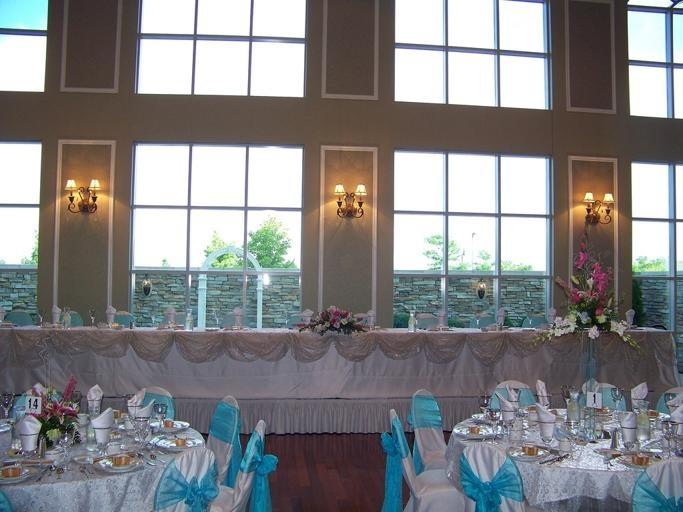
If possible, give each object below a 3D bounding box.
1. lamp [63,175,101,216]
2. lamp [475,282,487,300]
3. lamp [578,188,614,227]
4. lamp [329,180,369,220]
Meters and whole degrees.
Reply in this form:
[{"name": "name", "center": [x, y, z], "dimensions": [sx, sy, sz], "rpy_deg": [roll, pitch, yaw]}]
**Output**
[{"name": "lamp", "center": [-4.184, -0.963, 10.537], "dimensions": [0.494, 0.554, 0.263], "rpy_deg": [-1, 0, -13]}, {"name": "lamp", "center": [2.431, 0.590, 11.247], "dimensions": [0.176, 0.288, 0.068], "rpy_deg": [-2, 0, -5]}, {"name": "lamp", "center": [4.414, -0.841, 11.285], "dimensions": [0.529, 0.591, 0.294], "rpy_deg": [1, -9, -7]}, {"name": "lamp", "center": [0.144, -0.879, 10.698], "dimensions": [0.522, 0.585, 0.272], "rpy_deg": [0, -3, -9]}]
